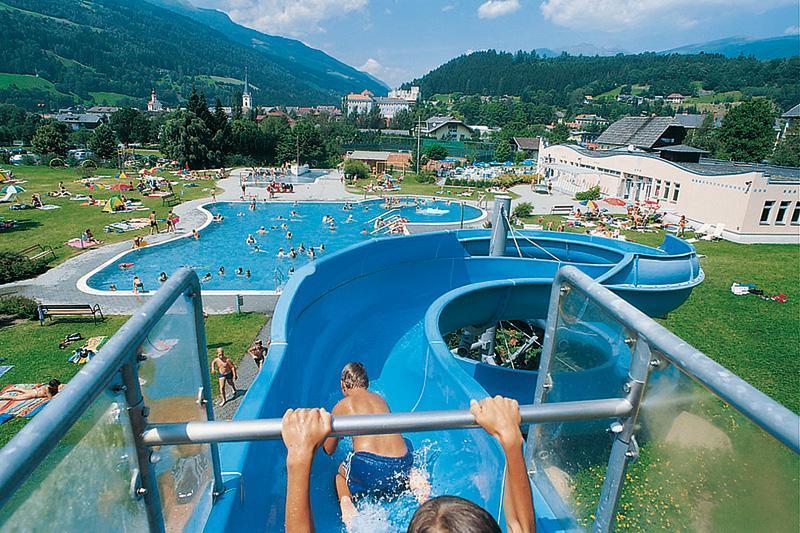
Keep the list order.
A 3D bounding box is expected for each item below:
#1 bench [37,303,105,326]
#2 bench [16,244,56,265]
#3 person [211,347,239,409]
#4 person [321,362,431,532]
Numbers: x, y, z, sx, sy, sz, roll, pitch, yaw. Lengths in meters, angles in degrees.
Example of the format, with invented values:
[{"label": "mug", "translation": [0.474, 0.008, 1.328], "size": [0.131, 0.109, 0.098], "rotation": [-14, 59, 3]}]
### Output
[{"label": "bench", "translation": [-10.772, 1.450, 15.828], "size": [1.817, 0.762, 0.866], "rotation": [-4, 18, -9]}, {"label": "bench", "translation": [-16.842, -0.769, 22.699], "size": [1.134, 0.739, 2.519], "rotation": [-13, 22, -34]}, {"label": "person", "translation": [-4.198, 2.605, 11.835], "size": [0.693, 1.294, 0.698], "rotation": [1, 10, 21]}, {"label": "person", "translation": [-0.383, 1.732, 5.359], "size": [0.981, 0.727, 1.746], "rotation": [-5, 40, -19]}]
